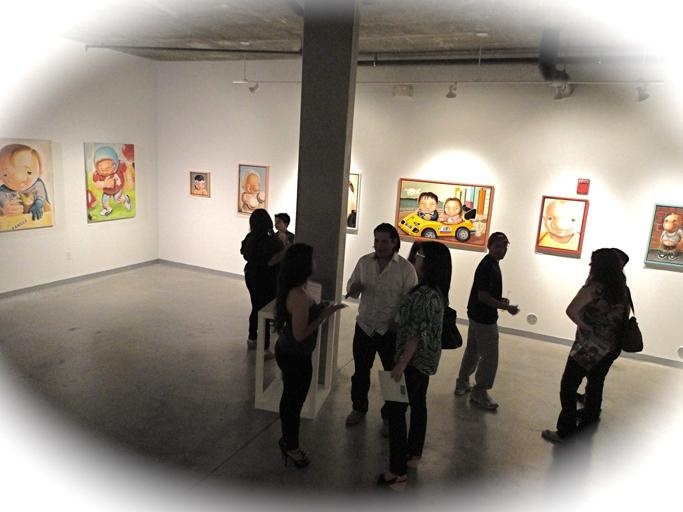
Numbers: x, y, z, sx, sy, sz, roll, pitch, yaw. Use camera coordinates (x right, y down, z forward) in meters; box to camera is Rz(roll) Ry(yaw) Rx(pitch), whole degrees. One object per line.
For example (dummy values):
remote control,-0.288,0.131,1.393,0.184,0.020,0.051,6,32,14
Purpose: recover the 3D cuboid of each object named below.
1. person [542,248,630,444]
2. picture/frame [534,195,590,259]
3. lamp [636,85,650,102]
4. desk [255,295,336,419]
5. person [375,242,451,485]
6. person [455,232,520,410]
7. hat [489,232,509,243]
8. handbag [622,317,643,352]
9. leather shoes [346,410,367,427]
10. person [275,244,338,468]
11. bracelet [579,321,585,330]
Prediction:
person,2.523,0.896,4.875,0.519,1.959,0.240,8,10,31
picture/frame,3.447,-0.474,7.523,0.826,1.143,0.134,8,7,22
lamp,4.043,-2.192,6.556,0.142,0.187,0.196,7,10,27
desk,-0.427,1.037,4.897,0.704,1.121,1.334,3,4,17
person,0.646,0.962,4.338,0.402,2.216,0.607,9,11,34
person,1.694,0.741,5.715,0.542,2.060,0.645,4,9,11
hat,1.812,-0.185,5.587,0.168,0.127,0.232,15,23,37
handbag,2.870,0.794,4.792,0.168,0.366,0.233,9,11,34
leather shoes,0.147,1.739,5.231,0.094,0.096,0.243,4,6,31
person,-0.371,0.933,4.439,0.465,2.087,0.338,1,9,-8
bracelet,2.397,0.689,4.837,0.018,0.064,0.068,-2,1,-27
